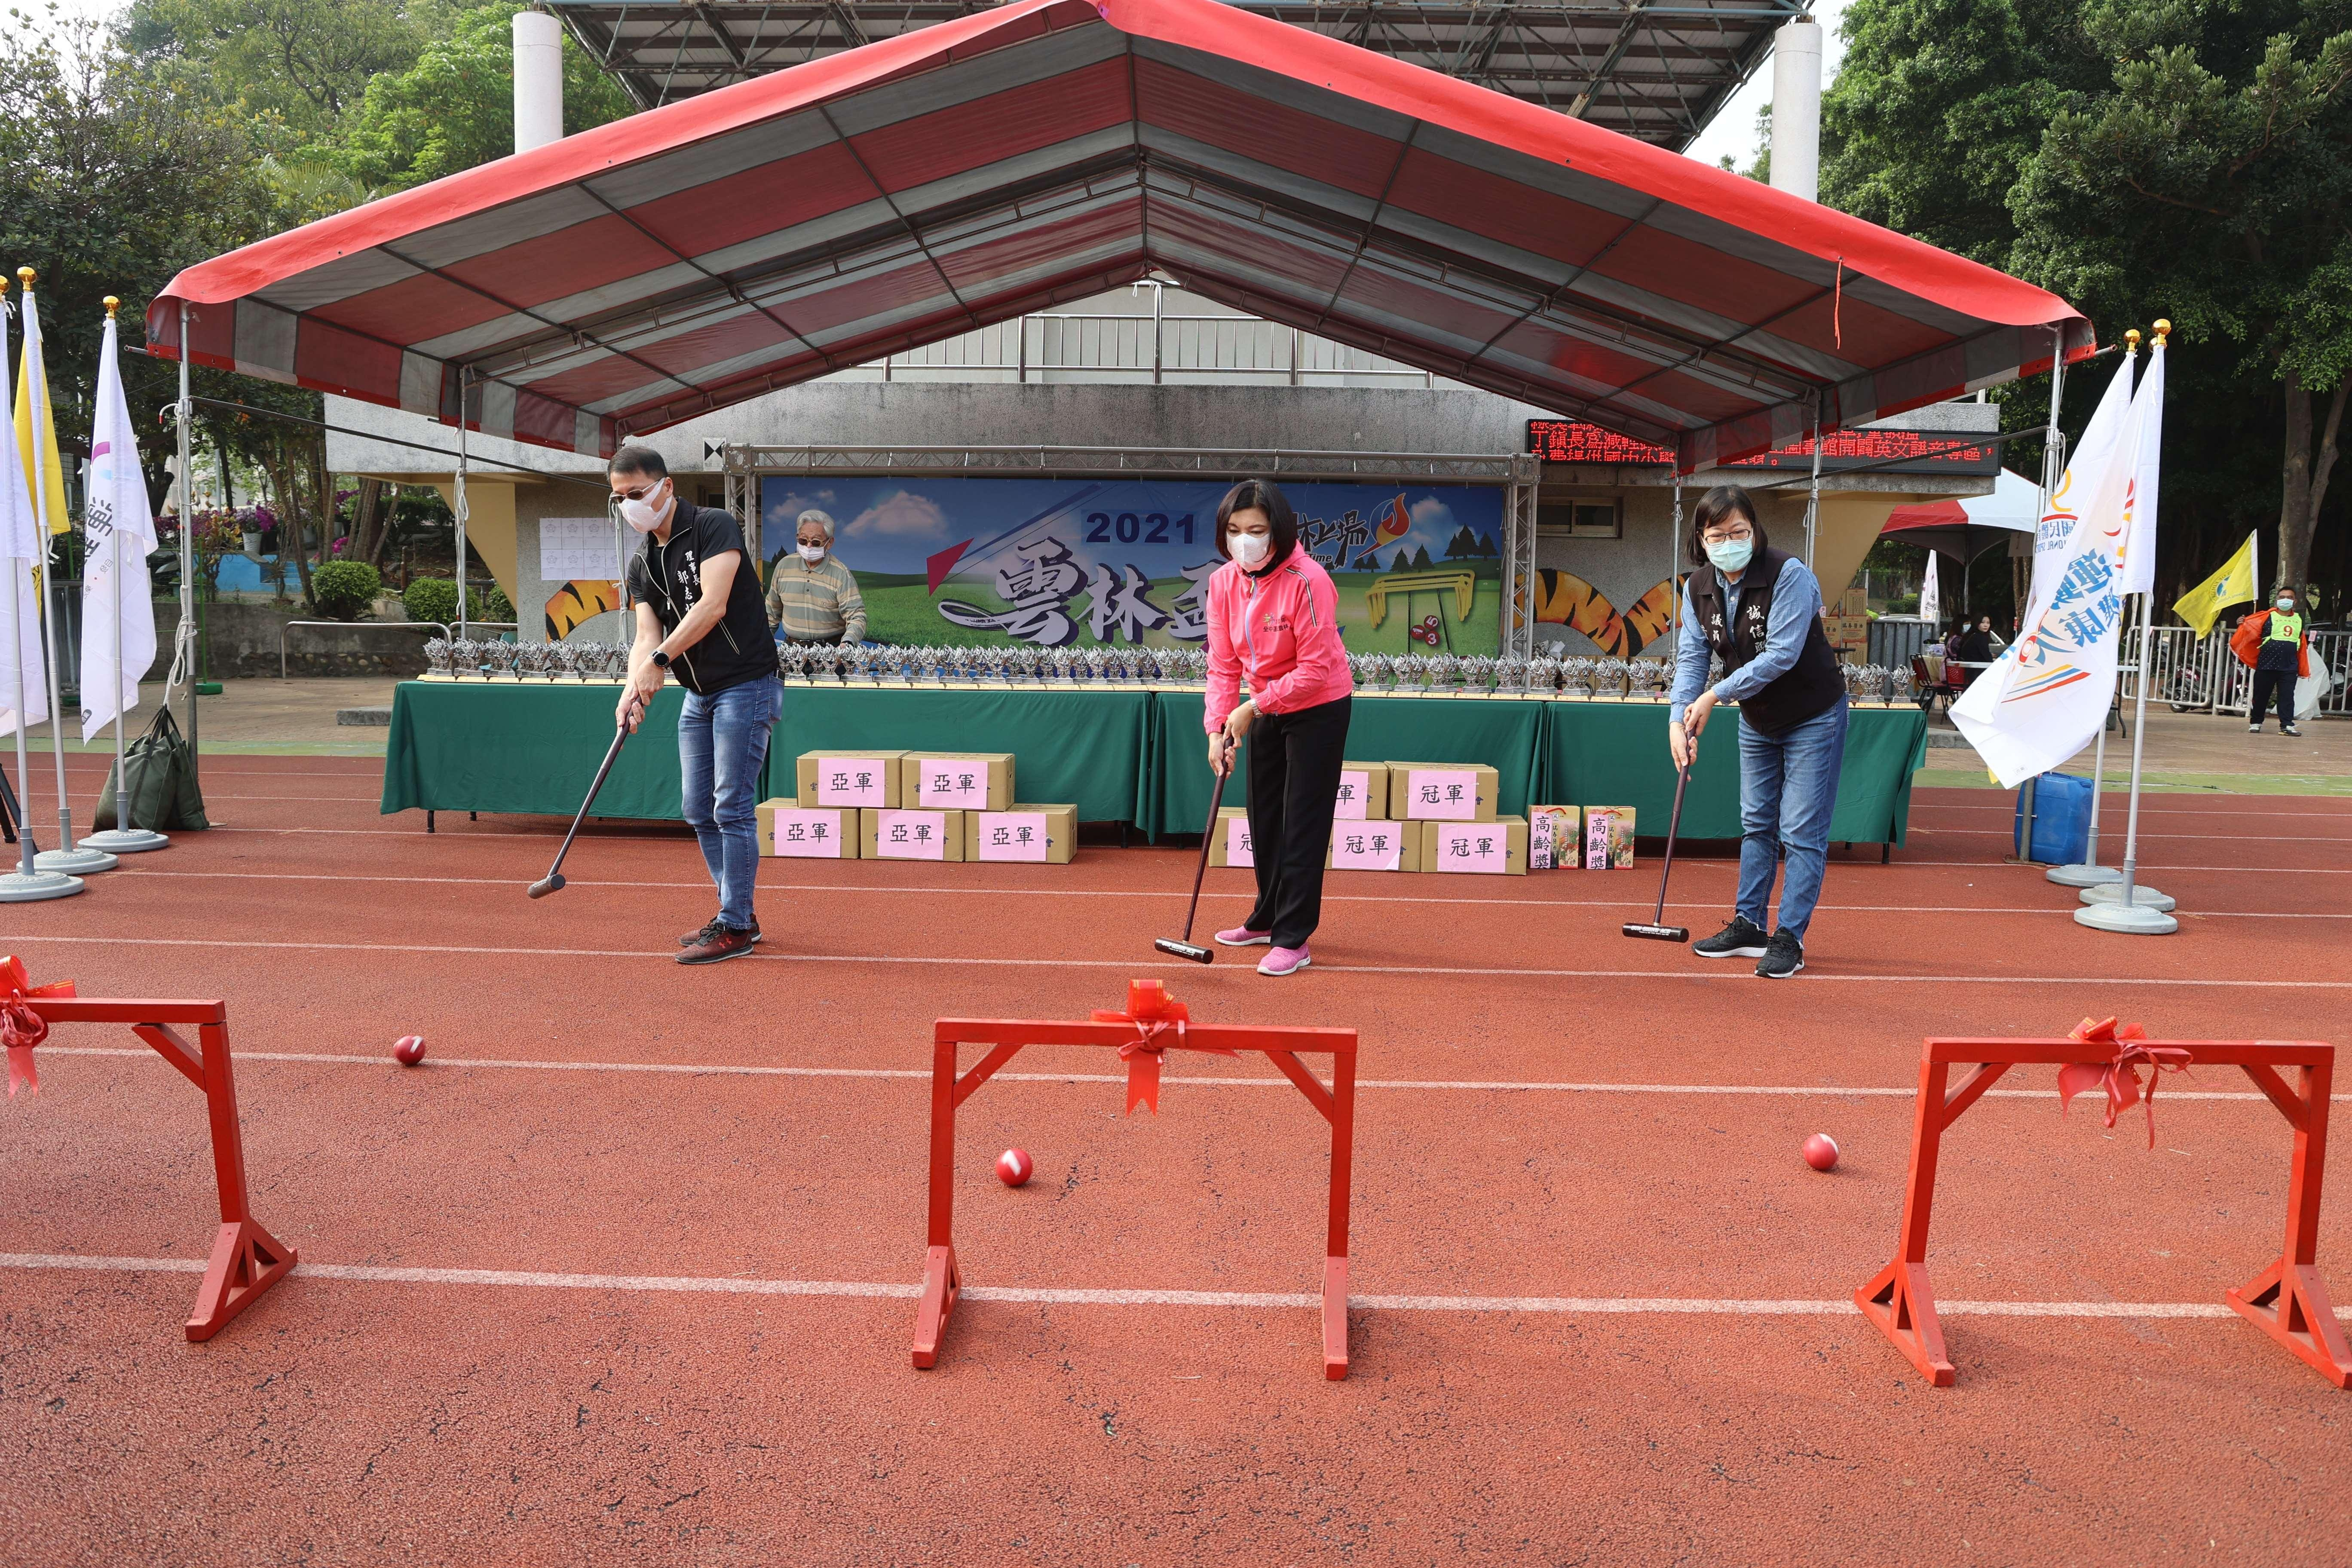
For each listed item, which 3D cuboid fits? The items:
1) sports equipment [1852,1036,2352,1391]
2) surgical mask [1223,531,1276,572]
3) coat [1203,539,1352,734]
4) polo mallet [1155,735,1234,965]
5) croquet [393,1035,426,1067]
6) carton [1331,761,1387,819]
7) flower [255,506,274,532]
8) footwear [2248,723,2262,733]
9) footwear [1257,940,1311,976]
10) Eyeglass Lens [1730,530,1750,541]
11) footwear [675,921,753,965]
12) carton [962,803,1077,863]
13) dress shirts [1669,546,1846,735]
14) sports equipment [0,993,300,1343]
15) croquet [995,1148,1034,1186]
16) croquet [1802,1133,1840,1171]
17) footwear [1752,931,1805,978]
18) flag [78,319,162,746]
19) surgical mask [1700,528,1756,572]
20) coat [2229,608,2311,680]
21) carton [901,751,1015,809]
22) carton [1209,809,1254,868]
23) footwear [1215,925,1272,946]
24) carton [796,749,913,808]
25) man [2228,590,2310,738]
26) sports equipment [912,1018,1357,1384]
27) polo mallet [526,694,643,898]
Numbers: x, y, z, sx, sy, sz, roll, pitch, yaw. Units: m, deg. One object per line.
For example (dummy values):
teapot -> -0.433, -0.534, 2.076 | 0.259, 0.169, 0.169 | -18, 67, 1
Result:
sports equipment -> 3.783, 1.543, 8.577 | 1.995, 1.603, 1.275 | 0, -3, 7
surgical mask -> 0.393, -1.218, 10.682 | 0.183, 0.167, 0.192 | 2, 15, 12
coat -> 0.503, -0.764, 10.860 | 0.748, 0.997, 0.386 | 7, 9, 41
polo mallet -> 0.143, 0.422, 11.205 | 0.323, 1.044, 0.101 | 9, -6, 30
croquet -> -3.635, 1.247, 9.785 | 0.136, 0.125, 0.156 | -2, 8, -21
carton -> 1.223, 0.047, 13.370 | 0.375, 0.407, 0.293 | 2, -1, 6
flower -> -17.760, -5.194, 40.163 | 0.458, 0.483, 0.217 | 19, 26, 34
footwear -> 12.484, -0.677, 23.793 | 0.086, 0.117, 0.260 | 1, -7, 42
footwear -> 0.579, 0.921, 10.940 | 0.128, 0.138, 0.303 | -17, -16, 39
Eyeglass Lens -> 3.013, -1.344, 10.923 | 0.153, 0.072, 0.045 | -4, 9, -35
footwear -> -2.440, 0.852, 11.034 | 0.510, 0.237, 0.172 | 1, -5, -36
carton -> -1.022, 0.302, 13.419 | 0.686, 0.342, 0.216 | 1, 7, -2
dress shirts -> 3.194, -0.847, 11.174 | 0.525, 0.989, 0.680 | -11, 5, -22
sports equipment -> -3.975, 1.495, 8.225 | 0.738, 1.316, 0.380 | 1, 7, 5
croquet -> -0.702, 1.647, 8.948 | 0.140, 0.148, 0.163 | -2, 0, 1
croquet -> 2.863, 1.613, 9.169 | 0.139, 0.176, 0.146 | -1, 8, 6
footwear -> 3.249, 0.912, 11.064 | 0.139, 0.186, 0.395 | 0, -3, 33
flag -> -6.662, -1.607, 12.917 | 0.430, 2.617, 0.583 | -3, 8, -29
surgical mask -> 2.948, -1.243, 10.935 | 0.203, 0.154, 0.244 | -2, 32, 21
coat -> 12.649, -1.620, 23.737 | 0.319, 0.747, 0.907 | -8, 15, -29
carton -> -1.424, -0.031, 13.410 | 0.690, 0.338, 0.233 | -1, 7, -10
carton -> 0.358, 0.322, 13.353 | 0.324, 0.354, 0.333 | 0, -10, 10
footwear -> 0.380, 0.828, 11.344 | 0.301, 0.129, 0.127 | 3, -2, -11
carton -> -2.120, -0.042, 13.431 | 0.664, 0.333, 0.179 | 0, 7, -6
man -> 12.401, -1.403, 23.323 | 0.618, 1.655, 1.857 | 4, 8, 25
sports equipment -> -0.139, 1.587, 8.270 | 1.706, 1.373, 1.079 | 2, 14, -3
polo mallet -> -3.803, 0.030, 13.255 | 0.331, 1.597, 0.175 | 52, 20, 26
